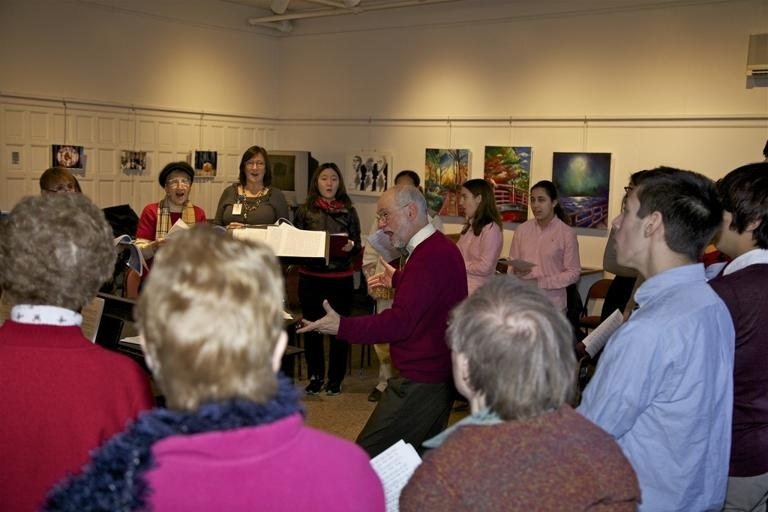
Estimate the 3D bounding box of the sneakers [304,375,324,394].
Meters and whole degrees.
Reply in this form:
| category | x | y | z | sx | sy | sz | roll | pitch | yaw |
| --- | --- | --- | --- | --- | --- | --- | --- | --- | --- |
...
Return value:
| category | x | y | z | sx | sy | sz | roll | pitch | yaw |
| --- | --- | --- | --- | --- | --- | --- | --- | --- | --- |
| sneakers | -0.686 | 1.300 | 5.413 | 0.098 | 0.136 | 0.275 | -1 | -6 | 9 |

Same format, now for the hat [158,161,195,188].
| category | x | y | z | sx | sy | sz | roll | pitch | yaw |
| --- | --- | --- | --- | --- | --- | --- | --- | --- | --- |
| hat | -1.903 | -0.780 | 5.022 | 0.250 | 0.119 | 0.328 | -8 | 8 | -10 |

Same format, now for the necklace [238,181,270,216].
| category | x | y | z | sx | sy | sz | roll | pitch | yaw |
| --- | --- | --- | --- | --- | --- | --- | --- | --- | --- |
| necklace | -1.283 | -0.558 | 5.355 | 0.236 | 0.330 | 0.117 | 4 | -35 | -8 |
